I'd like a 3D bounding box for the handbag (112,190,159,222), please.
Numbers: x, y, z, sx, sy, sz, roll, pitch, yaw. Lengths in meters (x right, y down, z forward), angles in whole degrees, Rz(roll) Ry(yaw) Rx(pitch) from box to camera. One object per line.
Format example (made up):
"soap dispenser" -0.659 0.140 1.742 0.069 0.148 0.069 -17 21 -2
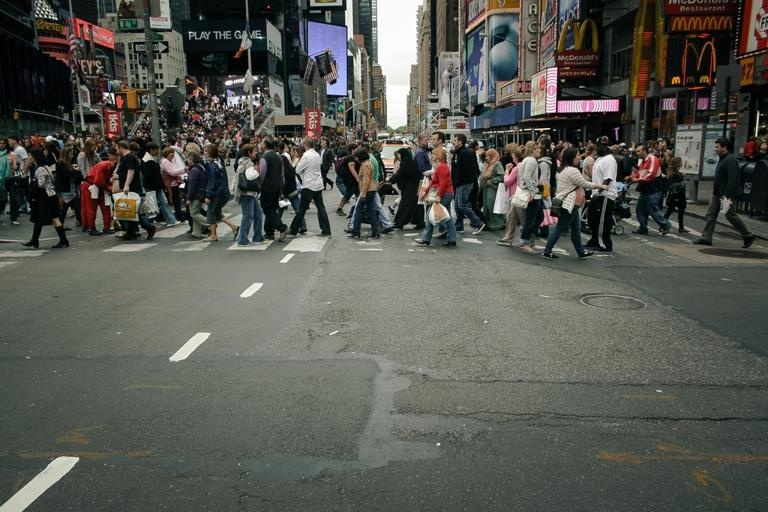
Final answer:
"handbag" -5.814 -1.182 16.298 0.746 0.657 0.283 -3 -2 -44

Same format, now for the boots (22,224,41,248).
"boots" -7.804 -0.472 15.525 0.357 0.522 0.652 -10 14 -34

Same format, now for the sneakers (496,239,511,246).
"sneakers" 2.660 -0.307 15.640 0.299 0.145 0.118 11 13 33

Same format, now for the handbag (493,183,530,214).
"handbag" 2.855 -1.295 15.700 0.807 0.757 0.315 -1 -2 35

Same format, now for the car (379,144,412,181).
"car" 0.463 -4.040 30.189 1.342 1.430 2.540 0 10 4

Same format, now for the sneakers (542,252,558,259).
"sneakers" 3.335 -0.016 14.141 0.315 0.133 0.110 1 12 -4

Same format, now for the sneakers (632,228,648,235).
"sneakers" 6.384 -0.630 17.499 0.395 0.178 0.138 4 10 25

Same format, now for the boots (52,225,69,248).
"boots" -7.175 -0.481 15.523 0.323 0.542 0.844 -7 13 -24

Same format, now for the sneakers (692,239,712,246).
"sneakers" 7.068 -0.318 15.660 0.435 0.207 0.150 7 11 25

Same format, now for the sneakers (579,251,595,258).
"sneakers" 4.075 -0.041 14.122 0.219 0.168 0.465 5 14 30

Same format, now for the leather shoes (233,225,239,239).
"leather shoes" -3.432 -0.564 16.199 0.119 0.330 0.113 12 48 -2

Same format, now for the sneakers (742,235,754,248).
"sneakers" 7.974 -0.347 15.366 0.222 0.286 0.421 4 13 27

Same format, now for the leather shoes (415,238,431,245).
"leather shoes" 0.823 -0.323 15.573 0.359 0.174 0.134 10 10 14

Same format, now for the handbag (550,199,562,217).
"handbag" 3.296 -0.951 13.661 0.260 0.362 0.250 -7 12 -22

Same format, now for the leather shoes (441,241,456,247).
"leather shoes" 1.412 -0.287 15.442 0.267 0.121 0.102 5 9 18
